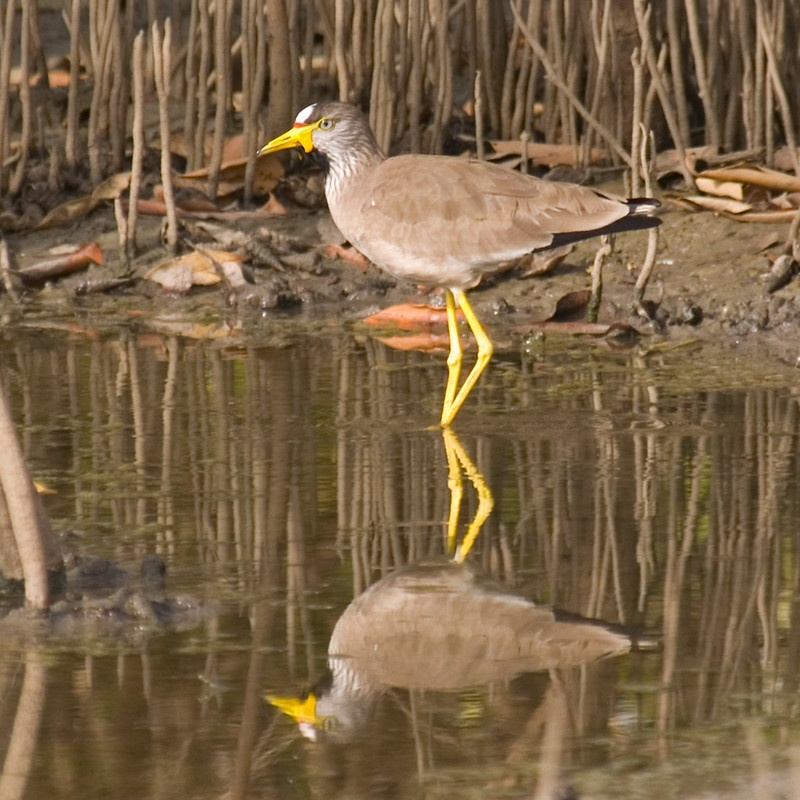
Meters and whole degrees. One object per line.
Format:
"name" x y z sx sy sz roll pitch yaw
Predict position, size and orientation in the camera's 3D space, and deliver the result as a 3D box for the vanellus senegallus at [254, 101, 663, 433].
"vanellus senegallus" 0.135 -0.520 5.648 1.285 1.101 0.730 8 13 43
